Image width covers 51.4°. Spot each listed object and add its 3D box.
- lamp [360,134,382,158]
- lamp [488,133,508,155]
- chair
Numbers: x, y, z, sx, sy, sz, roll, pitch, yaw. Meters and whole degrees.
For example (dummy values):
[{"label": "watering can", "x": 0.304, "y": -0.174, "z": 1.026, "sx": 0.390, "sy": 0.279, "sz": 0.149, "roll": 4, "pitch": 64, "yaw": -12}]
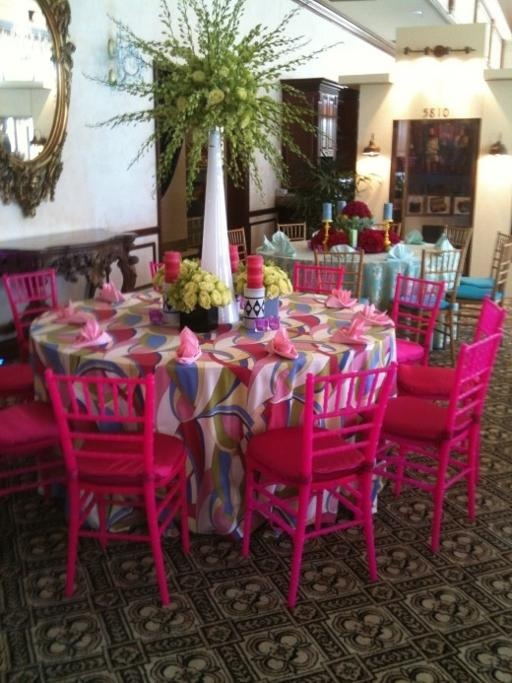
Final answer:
[{"label": "lamp", "x": 1.588, "y": -2.722, "z": 7.307, "sx": 0.246, "sy": 0.285, "sz": 0.315, "roll": 3, "pitch": 10, "yaw": 11}, {"label": "lamp", "x": 3.057, "y": -2.477, "z": 6.707, "sx": 0.214, "sy": 0.224, "sz": 0.148, "roll": 4, "pitch": 10, "yaw": 20}, {"label": "chair", "x": -0.196, "y": 0.282, "z": 2.221, "sx": 1.439, "sy": 0.841, "sz": 0.905, "roll": 3, "pitch": 10, "yaw": 17}]
